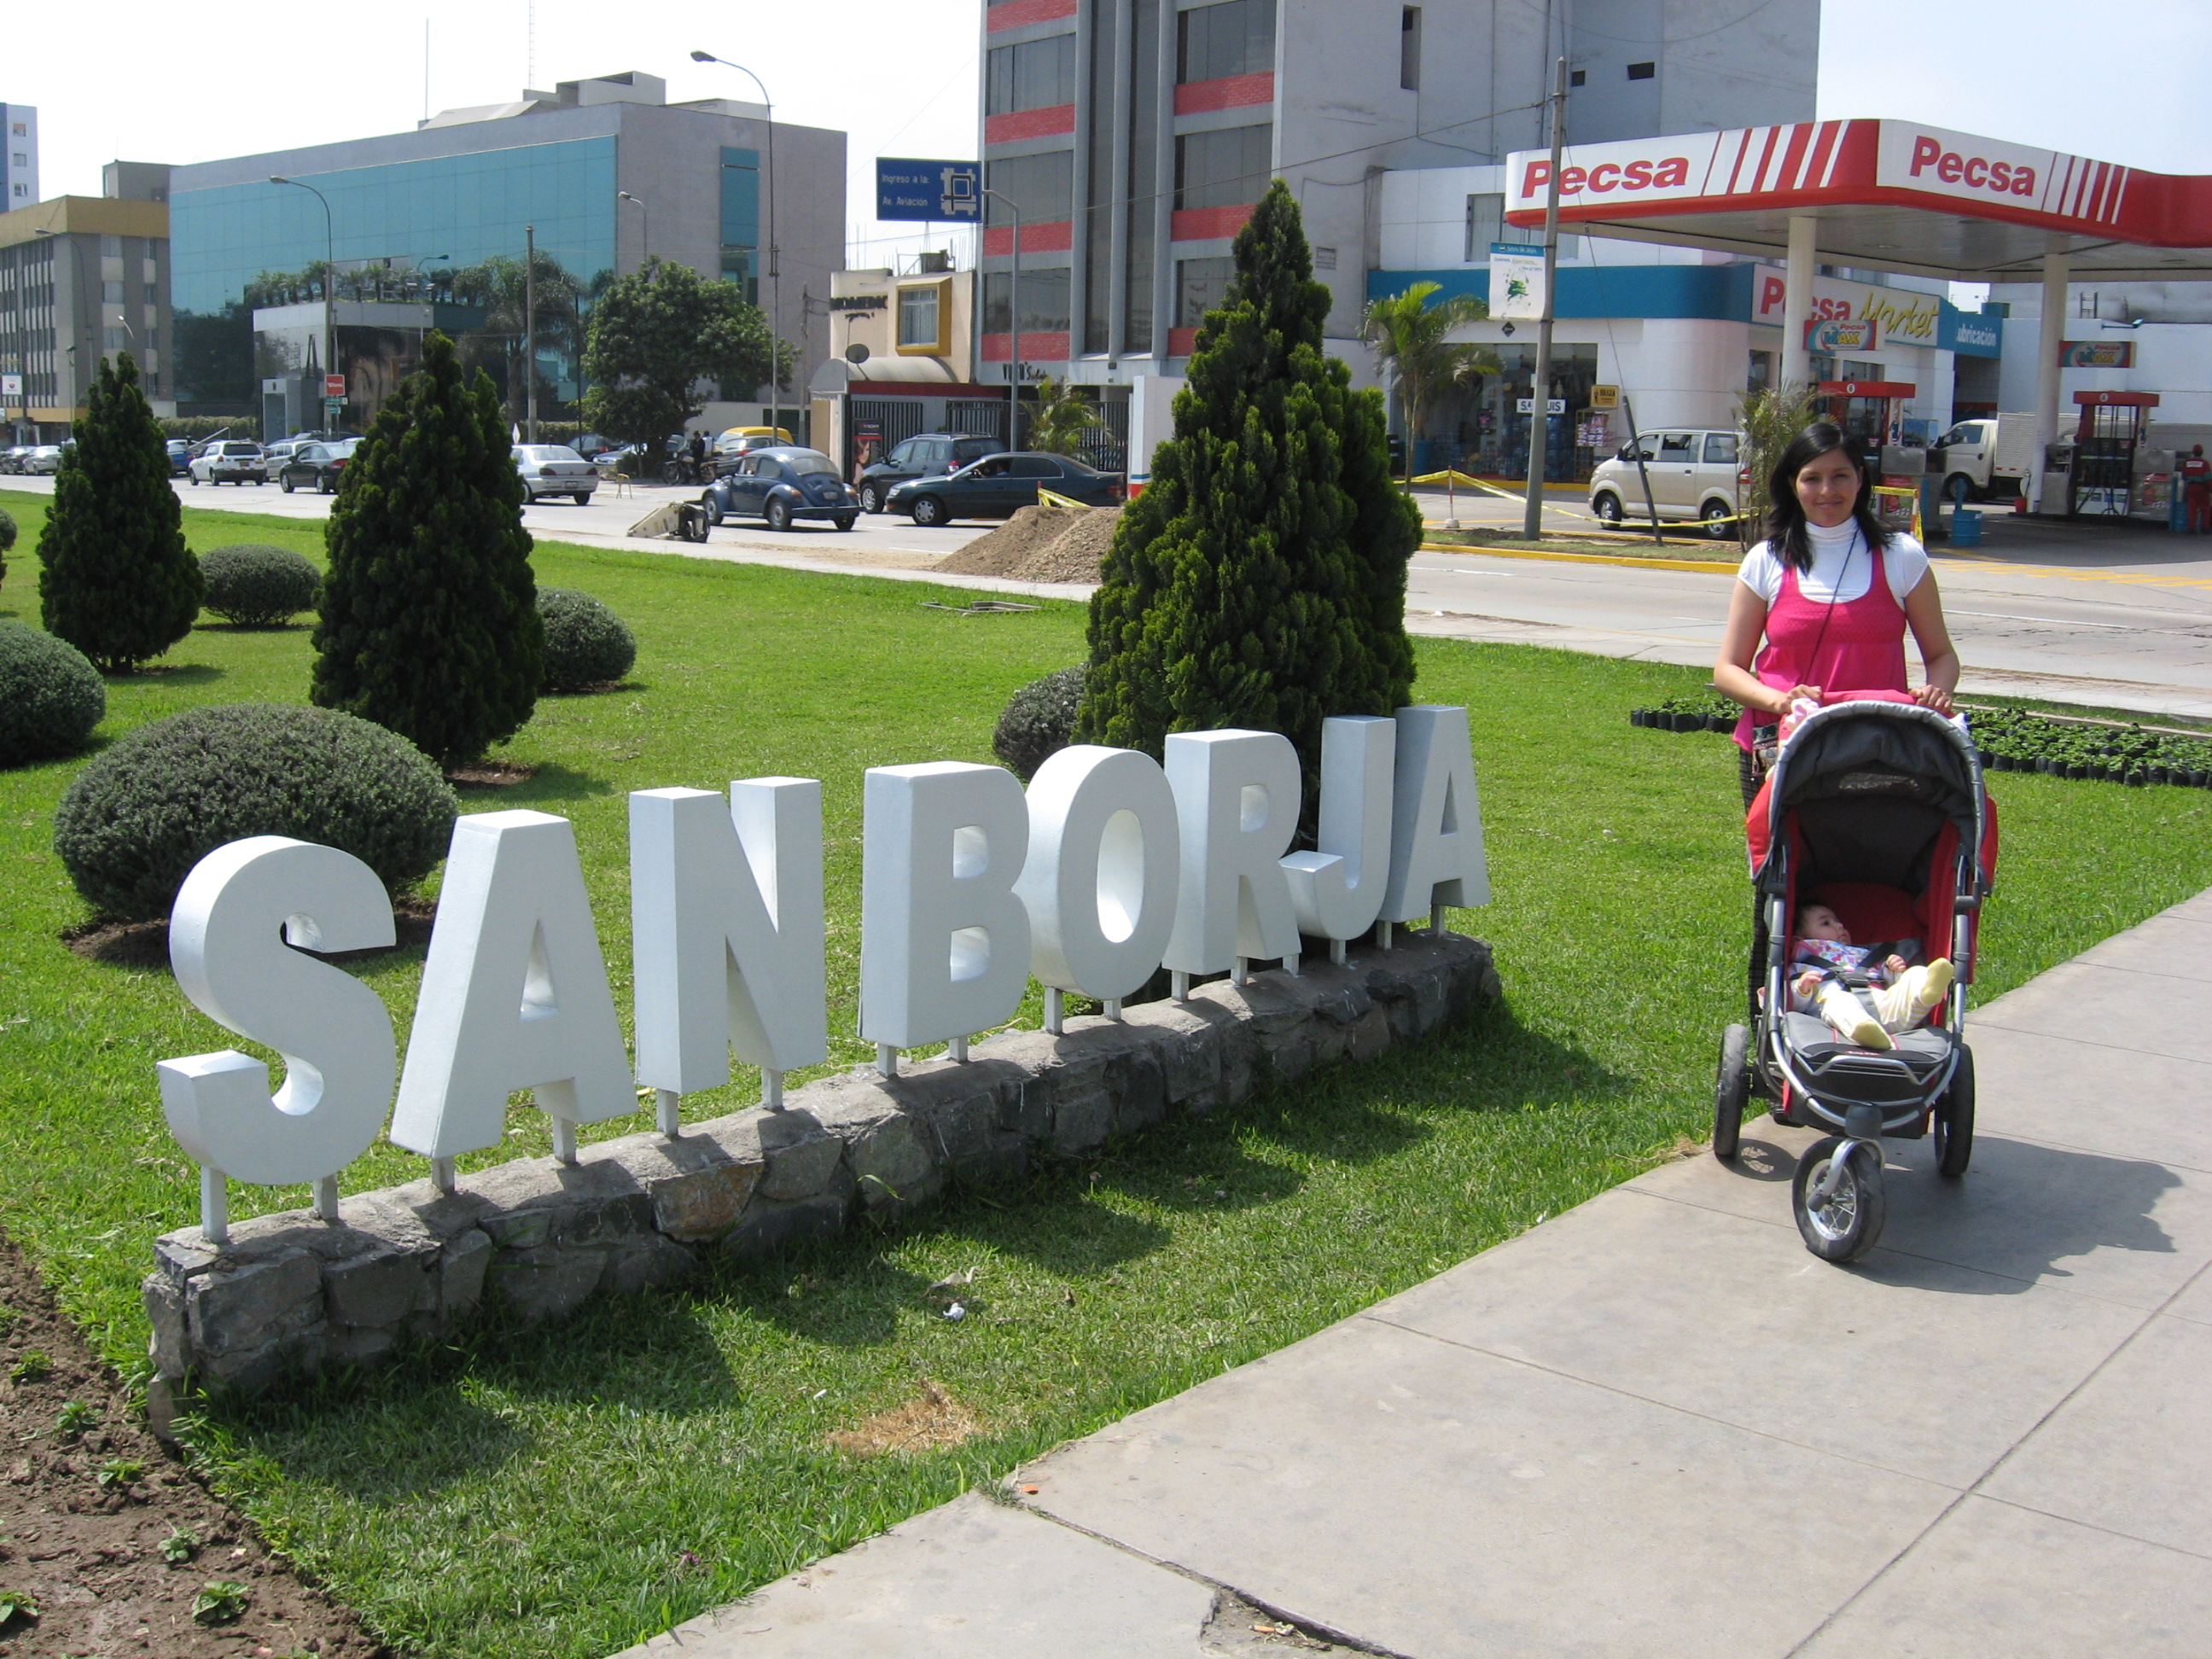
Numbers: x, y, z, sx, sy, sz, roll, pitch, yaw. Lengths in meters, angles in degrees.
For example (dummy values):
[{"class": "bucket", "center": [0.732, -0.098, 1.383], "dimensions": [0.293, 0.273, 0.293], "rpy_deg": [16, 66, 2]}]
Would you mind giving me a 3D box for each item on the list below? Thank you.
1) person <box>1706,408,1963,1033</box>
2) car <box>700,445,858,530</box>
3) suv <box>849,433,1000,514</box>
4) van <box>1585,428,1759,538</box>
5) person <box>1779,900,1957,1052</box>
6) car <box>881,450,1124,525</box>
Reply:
[{"class": "person", "center": [2.513, -0.230, 6.999], "dimensions": [0.605, 2.252, 0.666], "rpy_deg": [-1, 22, 24]}, {"class": "car", "center": [-6.469, -6.938, 41.442], "dimensions": [3.038, 1.515, 1.316], "rpy_deg": [8, 14, 30]}, {"class": "suv", "center": [-4.138, -8.488, 47.513], "dimensions": [2.938, 1.878, 1.718], "rpy_deg": [15, 22, 32]}, {"class": "van", "center": [11.127, -6.955, 40.406], "dimensions": [2.319, 1.454, 1.579], "rpy_deg": [13, 18, 40]}, {"class": "person", "center": [2.386, 0.457, 6.510], "dimensions": [0.450, 0.263, 0.700], "rpy_deg": [-2, 13, -10]}, {"class": "car", "center": [-2.281, -7.202, 43.155], "dimensions": [5.075, 1.508, 1.754], "rpy_deg": [7, 14, 24]}]
